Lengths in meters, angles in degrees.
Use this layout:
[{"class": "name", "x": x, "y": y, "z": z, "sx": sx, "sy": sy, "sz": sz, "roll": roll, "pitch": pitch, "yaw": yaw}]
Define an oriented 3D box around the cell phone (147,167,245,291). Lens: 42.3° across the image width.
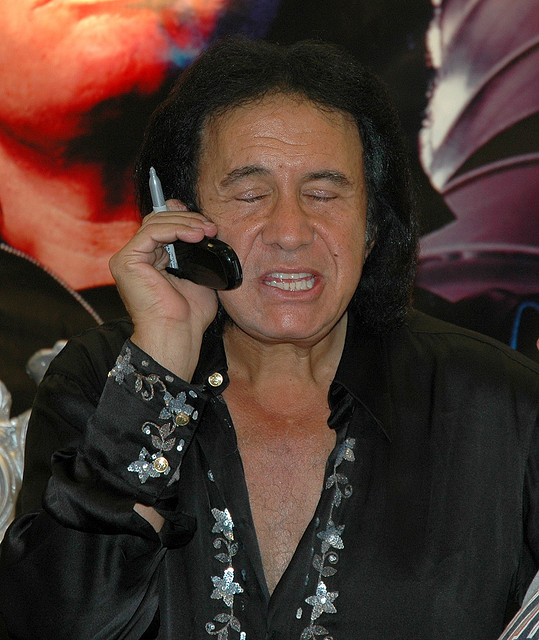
[{"class": "cell phone", "x": -0.161, "y": -0.198, "z": 1.589, "sx": 0.091, "sy": 0.307, "sz": 0.080, "roll": -24, "pitch": 6, "yaw": 36}]
